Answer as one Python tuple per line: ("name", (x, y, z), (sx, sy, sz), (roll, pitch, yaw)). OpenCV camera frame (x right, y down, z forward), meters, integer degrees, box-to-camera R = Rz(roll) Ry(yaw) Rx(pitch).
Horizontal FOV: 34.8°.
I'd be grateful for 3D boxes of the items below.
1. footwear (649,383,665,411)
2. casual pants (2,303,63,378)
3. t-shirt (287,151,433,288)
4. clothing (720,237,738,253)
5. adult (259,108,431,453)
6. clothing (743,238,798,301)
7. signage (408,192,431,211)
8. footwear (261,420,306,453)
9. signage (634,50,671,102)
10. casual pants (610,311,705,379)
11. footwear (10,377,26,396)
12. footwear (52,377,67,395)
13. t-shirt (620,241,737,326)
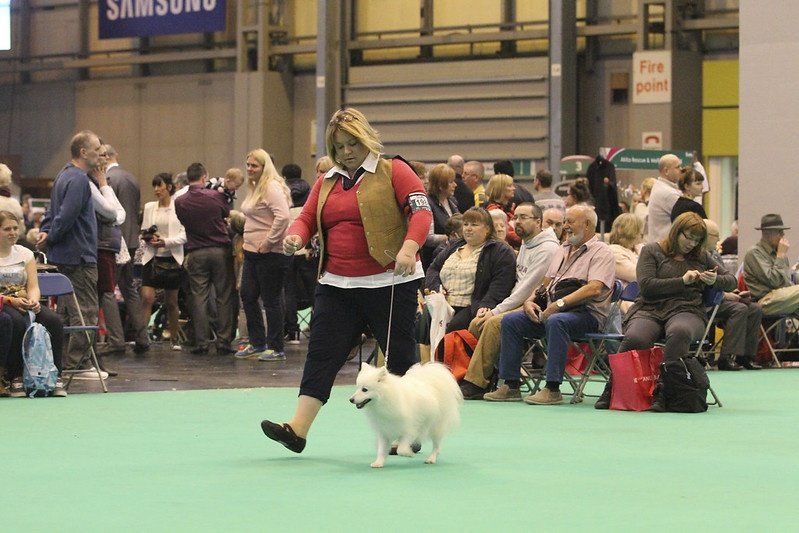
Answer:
("footwear", (2.611, 1.316, 12.912), (0.140, 0.288, 0.126), (0, 1, 11))
("casual pants", (-3.879, 0.782, 13.380), (0.706, 1.027, 0.669), (-2, -2, -6))
("t-shirt", (-0.290, -0.442, 11.019), (1.317, 1.247, 0.796), (-3, -7, 32))
("clothing", (4.884, -0.321, 18.978), (0.230, 0.241, 0.088), (17, 1, -32))
("adult", (-0.330, 0.072, 10.801), (1.729, 2.938, 1.327), (4, -7, -26))
("clothing", (4.558, 0.073, 16.160), (0.581, 0.879, 0.845), (-10, -7, 36))
("signage", (0.164, -0.544, 10.739), (0.129, 0.160, 0.167), (-19, -11, -12))
("footwear", (-0.975, 1.450, 10.832), (0.321, 0.114, 0.146), (36, 33, -15))
("signage", (4.842, -3.674, 24.328), (0.892, 1.240, 0.136), (5, 9, 39))
("casual pants", (2.746, 0.706, 13.434), (0.711, 0.381, 1.198), (-6, 8, 22))
("footwear", (-3.950, 1.247, 13.211), (0.161, 0.190, 0.086), (-1, 1, -11))
("footwear", (-3.545, 1.257, 13.386), (0.149, 0.174, 0.375), (-1, 1, -8))
("t-shirt", (2.962, 0.214, 13.364), (0.995, 0.950, 0.759), (7, -6, 3))
